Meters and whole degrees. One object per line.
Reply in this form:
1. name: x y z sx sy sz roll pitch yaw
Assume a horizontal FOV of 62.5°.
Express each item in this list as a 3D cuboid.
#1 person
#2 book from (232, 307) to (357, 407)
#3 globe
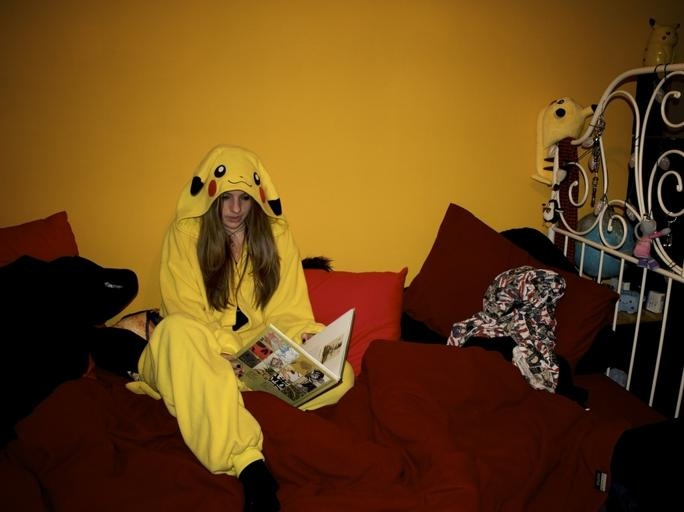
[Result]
1. person: -0.318 0.348 2.130 0.705 1.334 0.837 2 15 -15
2. book: -0.185 0.385 2.098 0.355 0.236 0.392 -4 21 -40
3. globe: 1.205 -0.055 2.672 0.256 0.313 0.240 2 13 -4
